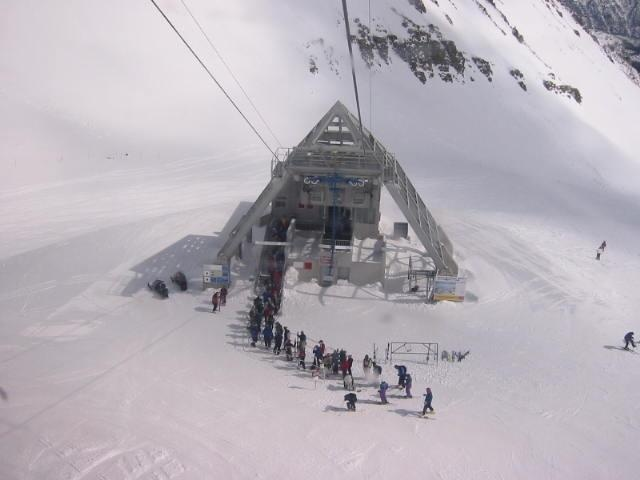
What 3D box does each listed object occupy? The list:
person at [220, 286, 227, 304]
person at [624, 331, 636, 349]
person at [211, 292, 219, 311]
[{"bbox_3d":[-6.326,3.691,32.645,0.410,1.223,0.495,5,4,-14],"label":"person"},{"bbox_3d":[18.646,6.070,30.104,0.601,1.137,1.152,8,4,34],"label":"person"},{"bbox_3d":[-6.723,3.950,32.249,0.399,1.259,1.017,5,4,-7],"label":"person"}]
